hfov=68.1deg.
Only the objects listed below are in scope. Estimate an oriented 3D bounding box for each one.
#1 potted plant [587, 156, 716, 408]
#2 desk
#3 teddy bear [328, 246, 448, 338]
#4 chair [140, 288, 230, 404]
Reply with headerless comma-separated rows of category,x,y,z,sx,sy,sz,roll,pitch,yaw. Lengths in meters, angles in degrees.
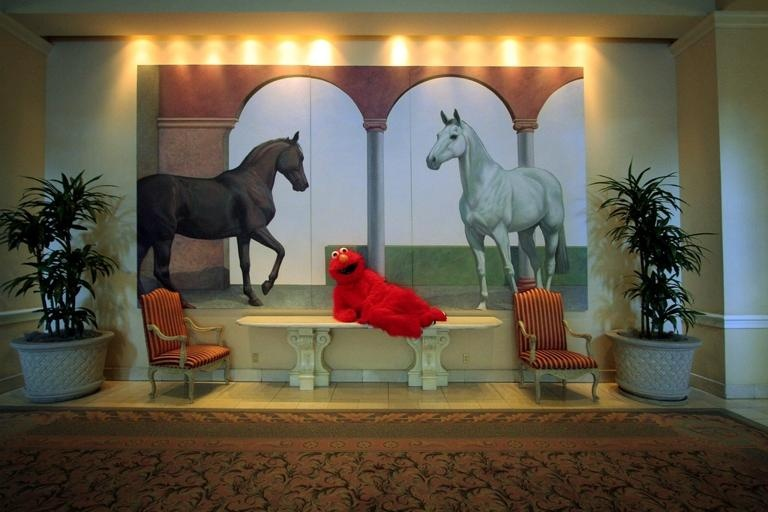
potted plant,3.537,0.272,7.438,1.202,2.883,1.018,-2,0,41
desk,-0.269,1.263,7.451,3.099,0.996,0.645,-2,0,0
teddy bear,0.015,0.475,7.527,1.775,0.809,1.280,18,12,17
chair,-2.559,1.100,7.416,0.934,1.458,0.761,-2,0,4
